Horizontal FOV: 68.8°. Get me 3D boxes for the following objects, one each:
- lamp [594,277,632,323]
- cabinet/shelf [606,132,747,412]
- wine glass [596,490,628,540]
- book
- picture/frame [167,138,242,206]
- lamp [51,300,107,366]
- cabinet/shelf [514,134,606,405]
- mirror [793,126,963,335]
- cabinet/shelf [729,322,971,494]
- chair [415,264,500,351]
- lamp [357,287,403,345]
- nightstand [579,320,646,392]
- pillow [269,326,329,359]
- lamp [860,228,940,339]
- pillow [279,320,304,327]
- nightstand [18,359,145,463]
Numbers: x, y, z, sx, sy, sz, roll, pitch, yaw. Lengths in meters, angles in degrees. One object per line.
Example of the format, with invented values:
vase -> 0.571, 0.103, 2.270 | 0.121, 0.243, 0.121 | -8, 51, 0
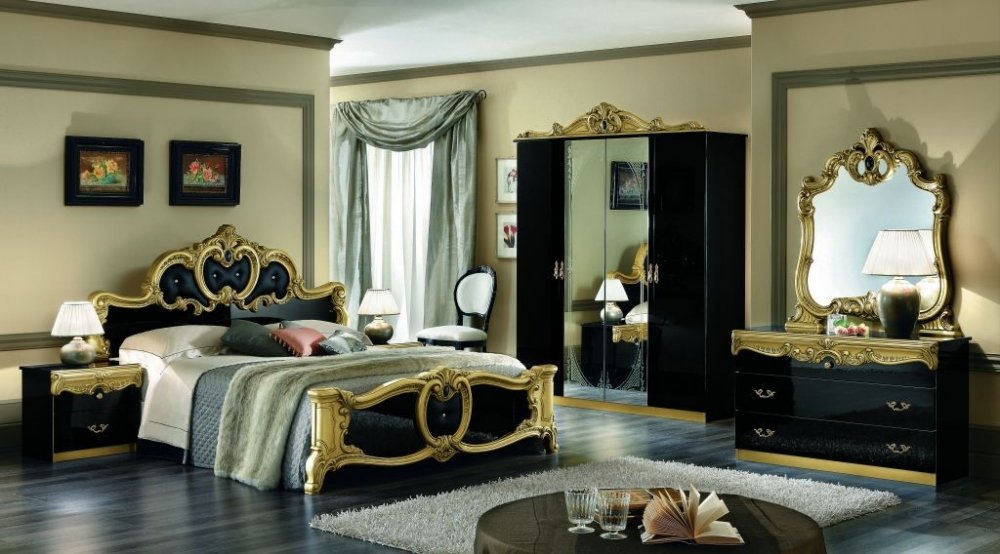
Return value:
lamp -> 1.258, 0.284, 8.301 | 0.436, 0.510, 0.423 | 6, -8, -41
cabinet/shelf -> 2.254, -0.058, 8.193 | 0.976, 3.032, 0.976 | 1, 5, 31
wine glass -> 0.609, 1.267, 3.948 | 0.163, 0.245, 0.191 | 1, 6, 7
book -> 1.039, 1.324, 4.015 | 0.591, 0.218, 0.445 | 1, 0, 0
picture/frame -> -3.145, -1.110, 7.671 | 0.829, 0.697, 0.055 | -2, 2, -37
lamp -> -3.873, 0.493, 7.014 | 0.629, 0.616, 0.573 | -4, 8, -21
cabinet/shelf -> 0.631, -0.270, 8.829 | 0.703, 2.952, 0.641 | 14, 32, 29
mirror -> 3.479, -0.399, 6.602 | 0.176, 2.130, 2.064 | 1, 1, -44
cabinet/shelf -> 3.203, 1.108, 6.675 | 2.324, 1.435, 1.218 | 0, -2, 37
chair -> -0.541, 0.554, 9.313 | 0.900, 1.305, 0.919 | 1, 4, 35
lamp -> -1.451, 0.469, 8.450 | 0.636, 0.592, 0.597 | -3, -5, 1
nightstand -> 1.295, 0.873, 8.197 | 0.912, 0.792, 0.498 | -1, -1, 38
pillow -> -1.972, 0.630, 7.192 | 0.354, 0.100, 0.340 | 34, 25, 34
lamp -> 3.541, 0.055, 6.360 | 0.561, 0.910, 0.416 | -1, 6, -13
pillow -> -2.170, 0.490, 7.495 | 0.147, 0.039, 0.115 | 7, 8, 42
nightstand -> -3.874, 1.134, 7.013 | 0.878, 1.017, 1.212 | -2, -2, 42
